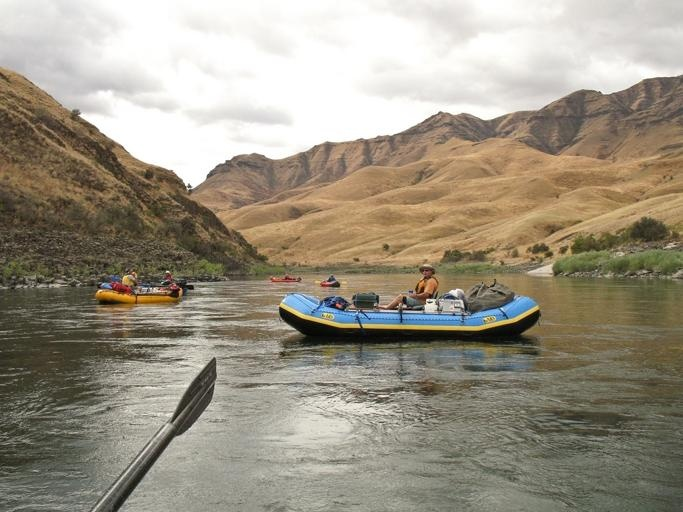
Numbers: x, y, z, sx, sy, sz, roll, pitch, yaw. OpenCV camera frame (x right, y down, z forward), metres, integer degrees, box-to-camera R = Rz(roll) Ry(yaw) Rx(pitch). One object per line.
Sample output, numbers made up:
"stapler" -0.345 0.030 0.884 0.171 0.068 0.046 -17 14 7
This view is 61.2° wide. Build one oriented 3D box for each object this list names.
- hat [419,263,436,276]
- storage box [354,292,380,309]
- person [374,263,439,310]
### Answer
"hat" 2.438 0.351 16.363 0.595 0.125 0.489 2 -32 9
"storage box" 0.680 1.249 16.277 0.819 0.353 0.478 1 1 5
"person" 1.814 0.975 16.605 2.191 1.020 0.918 -9 -1 9
